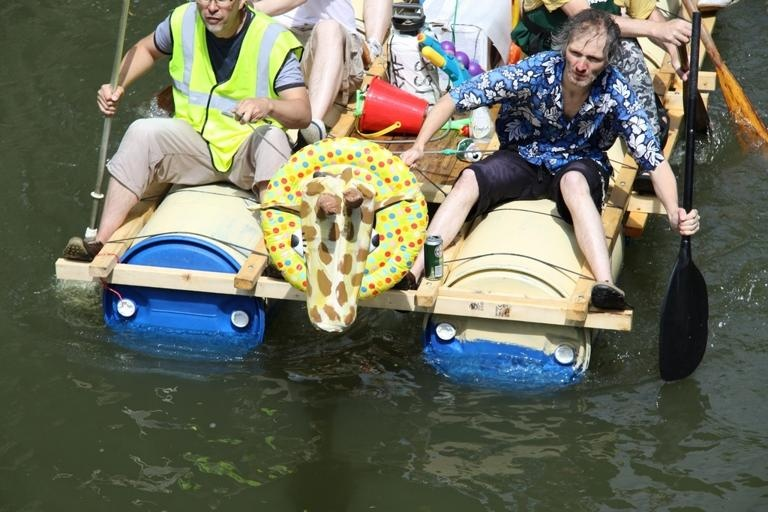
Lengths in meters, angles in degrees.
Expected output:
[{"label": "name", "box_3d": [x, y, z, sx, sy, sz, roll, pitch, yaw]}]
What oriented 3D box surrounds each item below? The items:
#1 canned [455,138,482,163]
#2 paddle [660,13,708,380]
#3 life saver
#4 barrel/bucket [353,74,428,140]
[{"label": "canned", "box_3d": [0.622, -0.759, 7.482, 0.088, 0.166, 0.209, 8, 24, -41]}, {"label": "paddle", "box_3d": [2.018, -0.339, 6.904, 0.400, 2.313, 0.397, 3, 2, 9]}, {"label": "life saver", "box_3d": [-0.244, -0.156, 6.383, 1.008, 1.287, 0.331, 4, -17, 0]}, {"label": "barrel/bucket", "box_3d": [0.080, -1.089, 7.627, 0.424, 0.438, 0.433, 3, 18, -1]}]
